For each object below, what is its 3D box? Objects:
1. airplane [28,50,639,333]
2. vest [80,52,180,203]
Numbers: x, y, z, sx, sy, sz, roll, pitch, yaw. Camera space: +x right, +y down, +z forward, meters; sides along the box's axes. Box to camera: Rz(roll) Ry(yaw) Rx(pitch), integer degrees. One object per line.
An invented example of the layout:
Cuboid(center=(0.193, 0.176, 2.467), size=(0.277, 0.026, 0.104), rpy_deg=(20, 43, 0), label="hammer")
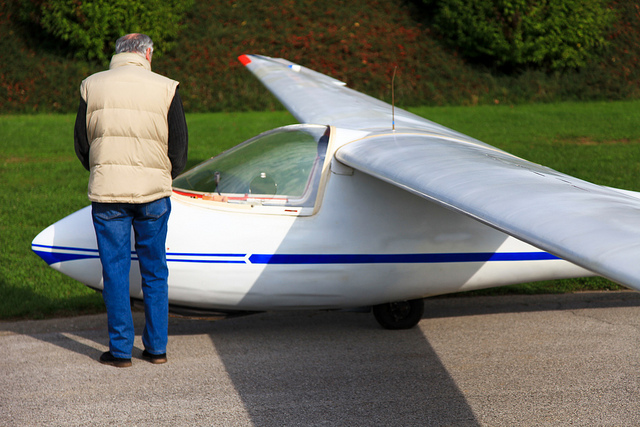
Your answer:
Cuboid(center=(0.558, -0.353, 13.287), size=(6.926, 2.074, 6.230), rpy_deg=(-4, 26, -16), label="airplane")
Cuboid(center=(-2.411, -1.005, 10.885), size=(1.107, 1.562, 0.964), rpy_deg=(-1, 29, -14), label="vest")
